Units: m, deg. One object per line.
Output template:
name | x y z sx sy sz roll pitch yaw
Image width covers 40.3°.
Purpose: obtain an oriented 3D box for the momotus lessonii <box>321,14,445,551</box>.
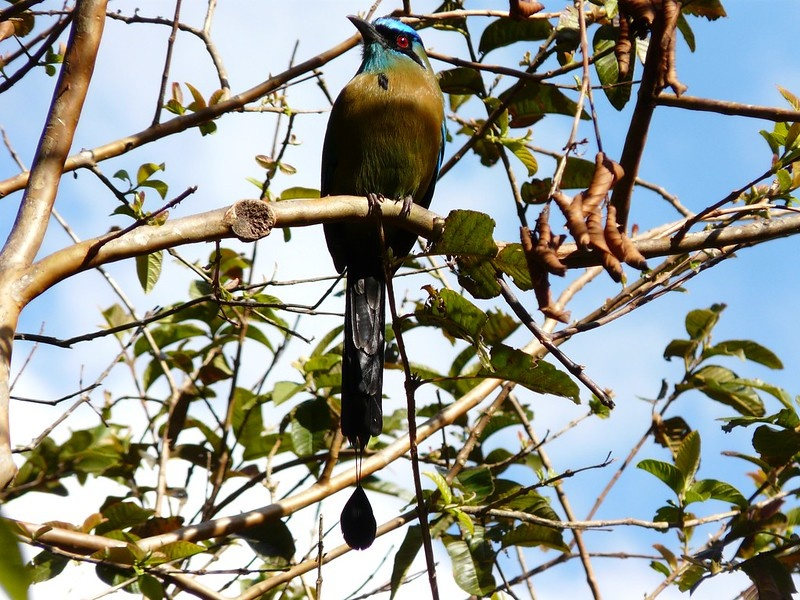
momotus lessonii | -0.095 -0.216 5.692 0.573 0.789 2.865 3 -88 -5
